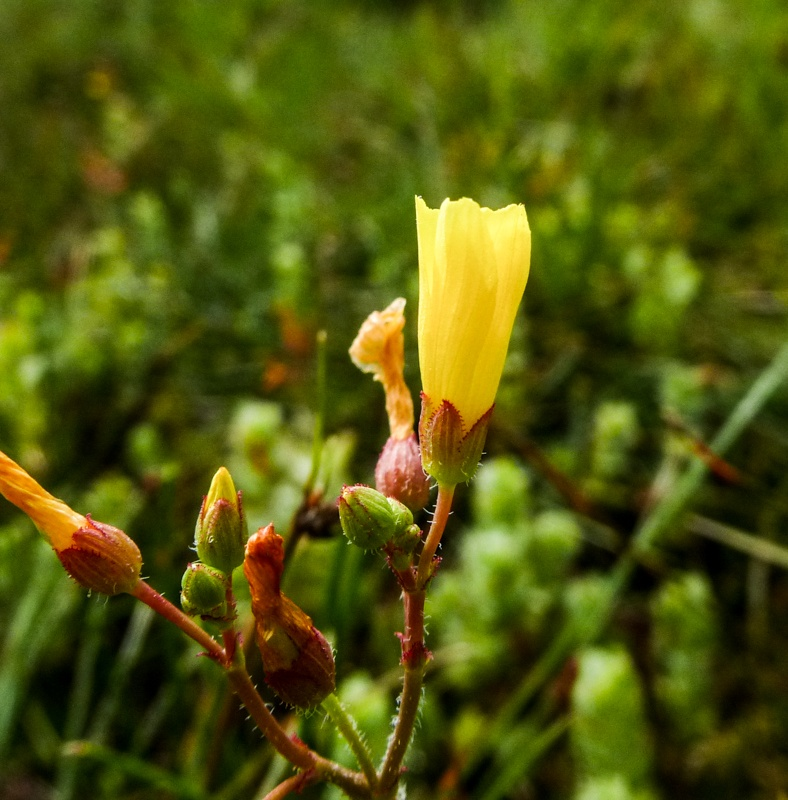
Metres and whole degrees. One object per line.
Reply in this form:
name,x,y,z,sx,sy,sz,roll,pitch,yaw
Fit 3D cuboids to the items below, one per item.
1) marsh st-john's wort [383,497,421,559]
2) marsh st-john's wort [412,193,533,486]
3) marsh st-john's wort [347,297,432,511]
marsh st-john's wort,0.010,0.118,0.849,0.028,0.026,0.053,-13,70,-20
marsh st-john's wort,0.069,-0.063,0.847,0.086,0.099,0.270,-1,94,-6
marsh st-john's wort,0.001,0.017,0.965,0.057,0.060,0.207,-6,85,28
